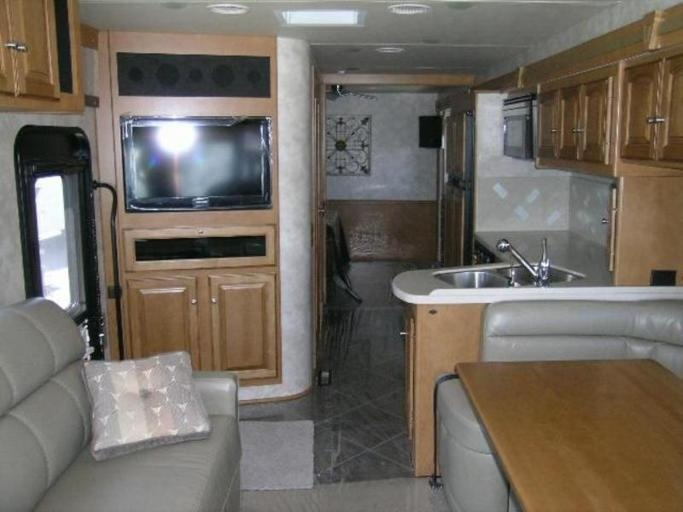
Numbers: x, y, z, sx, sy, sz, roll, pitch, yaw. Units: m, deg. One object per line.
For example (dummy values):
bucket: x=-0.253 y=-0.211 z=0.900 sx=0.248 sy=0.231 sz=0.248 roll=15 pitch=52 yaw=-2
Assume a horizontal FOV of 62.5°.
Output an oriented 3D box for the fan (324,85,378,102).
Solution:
fan: x=0.069 y=-2.303 z=8.019 sx=0.872 sy=0.203 sz=0.475 roll=4 pitch=11 yaw=5

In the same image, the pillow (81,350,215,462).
pillow: x=-0.907 y=0.665 z=2.670 sx=0.483 sy=0.136 sz=0.498 roll=-6 pitch=54 yaw=-26

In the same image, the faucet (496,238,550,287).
faucet: x=1.157 y=0.019 z=3.588 sx=0.319 sy=0.300 sz=0.213 roll=1 pitch=14 yaw=2

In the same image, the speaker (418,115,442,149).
speaker: x=1.351 y=-1.876 z=8.457 sx=0.341 sy=0.450 sz=0.156 roll=2 pitch=14 yaw=6

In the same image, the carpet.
carpet: x=-0.413 y=1.285 z=3.640 sx=0.501 sy=0.027 sz=0.706 roll=-1 pitch=14 yaw=-6

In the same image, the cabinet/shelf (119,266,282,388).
cabinet/shelf: x=-1.029 y=0.448 z=3.974 sx=0.918 sy=0.747 sz=0.348 roll=-1 pitch=5 yaw=-4
